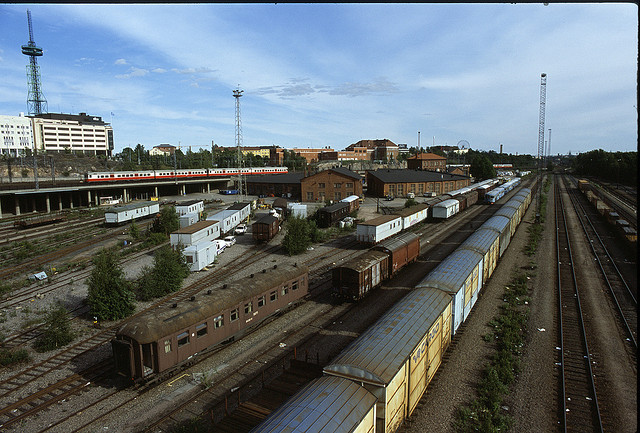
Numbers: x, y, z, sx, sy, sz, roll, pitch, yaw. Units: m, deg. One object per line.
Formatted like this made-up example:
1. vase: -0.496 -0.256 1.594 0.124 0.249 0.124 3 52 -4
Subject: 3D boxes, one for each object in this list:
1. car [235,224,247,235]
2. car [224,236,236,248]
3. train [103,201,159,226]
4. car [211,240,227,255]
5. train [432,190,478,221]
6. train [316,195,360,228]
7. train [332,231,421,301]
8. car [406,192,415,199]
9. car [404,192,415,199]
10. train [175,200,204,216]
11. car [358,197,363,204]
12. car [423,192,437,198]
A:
1. car: -11.635 2.024 60.369 1.497 1.057 2.082 0 9 -2
2. car: -11.715 3.325 53.232 1.294 1.118 2.786 0 0 4
3. train: -30.549 -0.689 67.089 2.929 2.699 10.381 3 5 16
4. car: -12.138 3.590 50.144 1.070 1.006 1.786 0 1 5
5. train: 24.171 -1.783 73.069 2.325 3.217 18.864 8 15 29
6. train: 3.489 -0.990 69.029 2.036 2.825 16.801 9 14 18
7. train: 5.373 4.567 40.925 3.160 4.287 16.817 8 15 33
8. car: 21.201 -4.876 96.599 1.769 1.016 2.561 5 12 23
9. car: 20.931 -4.956 96.754 1.686 0.904 2.429 6 13 24
10. train: -20.861 -1.545 66.284 1.521 1.654 6.909 0 3 9
11. car: 8.513 -3.300 85.742 1.631 1.266 1.208 1 24 -1
12. car: 26.035 -5.110 98.195 1.919 0.891 2.951 7 17 26
